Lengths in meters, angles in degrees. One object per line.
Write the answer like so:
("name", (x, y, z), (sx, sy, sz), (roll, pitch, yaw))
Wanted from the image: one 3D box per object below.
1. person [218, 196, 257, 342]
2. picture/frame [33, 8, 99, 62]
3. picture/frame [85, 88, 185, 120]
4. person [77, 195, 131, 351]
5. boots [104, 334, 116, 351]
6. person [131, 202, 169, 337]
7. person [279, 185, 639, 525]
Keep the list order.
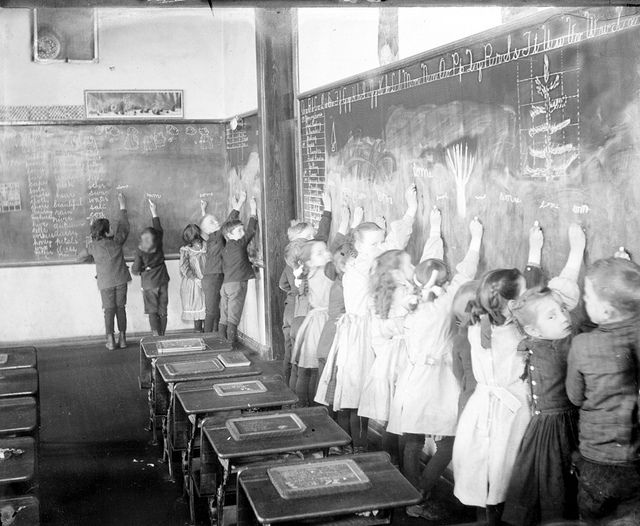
("person", (-0.802, 0.107, 5.861), (0.446, 1.456, 0.424), (-4, 8, -6))
("picture/frame", (-2.493, -2.229, 5.881), (0.613, 0.500, 0.398), (-8, 9, -33))
("picture/frame", (-1.960, -1.668, 6.352), (1.020, 0.302, 0.127), (-6, 8, -15))
("person", (-2.191, 0.083, 6.363), (0.446, 1.618, 0.333), (-7, 9, -30))
("boots", (-2.202, 0.830, 6.301), (0.074, 0.179, 0.174), (-1, 15, -17))
("person", (-1.800, 0.037, 6.455), (0.301, 1.465, 0.444), (0, 8, 19))
("person", (0.601, 0.392, 2.485), (0.437, 1.473, 1.272), (-16, 21, -42))
